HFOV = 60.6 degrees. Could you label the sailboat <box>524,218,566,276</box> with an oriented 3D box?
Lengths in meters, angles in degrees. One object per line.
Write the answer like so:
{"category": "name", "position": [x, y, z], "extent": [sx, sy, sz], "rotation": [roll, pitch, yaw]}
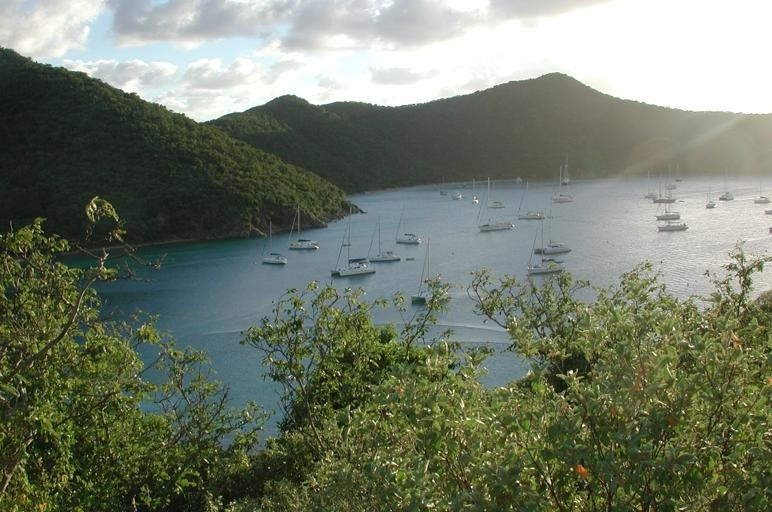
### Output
{"category": "sailboat", "position": [13.869, -0.467, 59.287], "extent": [2.563, 4.488, 28.237], "rotation": [-8, -1, 13]}

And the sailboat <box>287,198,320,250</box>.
{"category": "sailboat", "position": [-10.565, -3.811, 82.852], "extent": [5.170, 7.201, 1.921], "rotation": [0, 51, -5]}
